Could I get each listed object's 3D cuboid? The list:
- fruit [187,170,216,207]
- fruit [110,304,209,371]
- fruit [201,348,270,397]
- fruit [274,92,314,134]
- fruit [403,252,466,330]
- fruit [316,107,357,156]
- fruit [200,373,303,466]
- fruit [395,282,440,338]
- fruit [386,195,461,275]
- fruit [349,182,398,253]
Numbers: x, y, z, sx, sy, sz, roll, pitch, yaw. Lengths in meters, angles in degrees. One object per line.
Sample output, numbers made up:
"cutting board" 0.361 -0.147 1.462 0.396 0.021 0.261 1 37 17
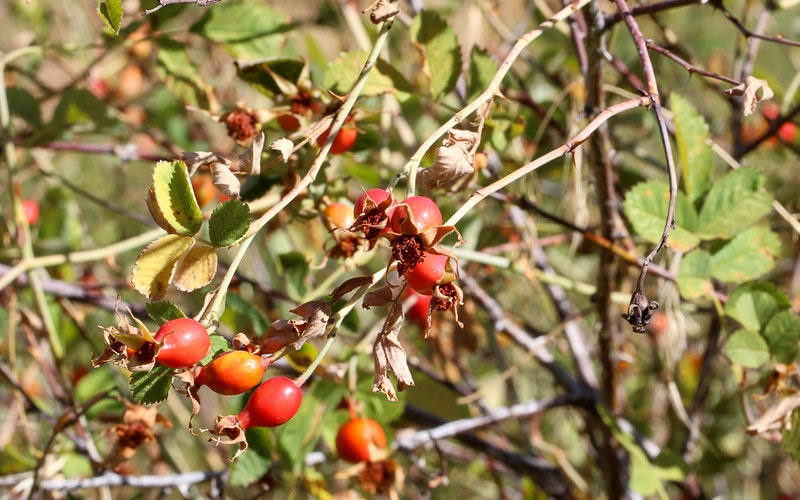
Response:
"fruit" -0.641 -0.196 2.510 0.075 0.114 0.232 0 2 -14
"fruit" -0.500 0.209 1.722 0.198 0.112 0.111 -7 8 43
"fruit" -0.365 0.268 1.723 0.126 0.089 0.084 -18 -7 0
"fruit" -0.267 -0.366 2.000 0.074 0.115 0.053 37 1 35
"fruit" 0.067 0.104 1.702 0.192 0.125 0.113 -16 -17 41
"fruit" -0.166 -0.286 1.940 0.094 0.136 0.100 -2 43 -11
"fruit" -0.324 0.374 1.734 0.225 0.117 0.112 -34 -20 -20
"fruit" 0.058 0.184 2.413 0.076 0.169 0.087 -23 -20 -6
"fruit" 0.036 -0.046 1.727 0.118 0.160 0.156 0 39 -51
"fruit" -0.058 -0.078 1.676 0.128 0.140 0.092 -1 3 12
